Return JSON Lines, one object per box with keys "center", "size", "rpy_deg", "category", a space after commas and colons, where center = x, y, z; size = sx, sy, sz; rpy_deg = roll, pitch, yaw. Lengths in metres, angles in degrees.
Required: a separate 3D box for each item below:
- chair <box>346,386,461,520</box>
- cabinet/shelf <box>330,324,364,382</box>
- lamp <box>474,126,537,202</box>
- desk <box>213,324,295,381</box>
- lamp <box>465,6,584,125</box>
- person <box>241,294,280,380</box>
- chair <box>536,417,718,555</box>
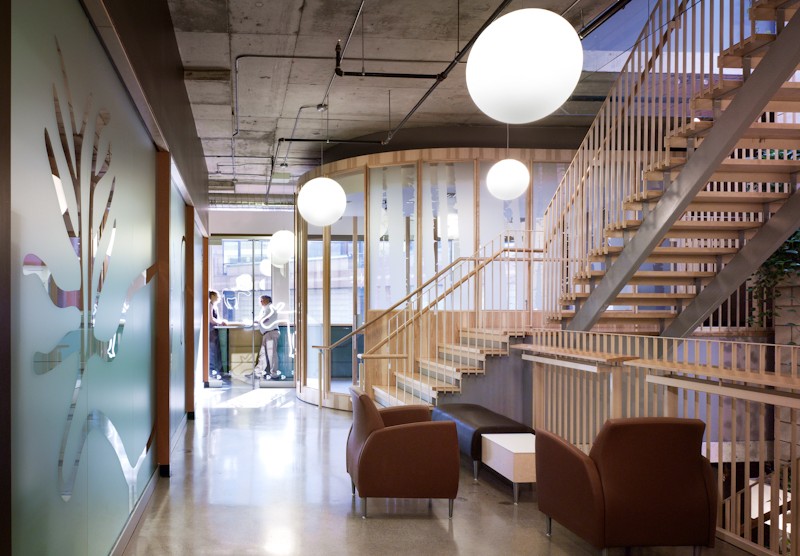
{"center": [-0.009, 1.490, 6.695], "size": [0.931, 1.137, 1.328], "rpy_deg": [1, -5, -5], "category": "chair"}
{"center": [-0.882, 1.204, 11.214], "size": [0.531, 1.049, 0.523], "rpy_deg": [-1, 33, -4], "category": "cabinet/shelf"}
{"center": [1.594, -1.771, 10.119], "size": [0.680, 1.304, 2.047], "rpy_deg": [0, 2, 10], "category": "lamp"}
{"center": [-3.127, 1.584, 15.024], "size": [1.796, 1.327, 1.022], "rpy_deg": [0, -5, -2], "category": "desk"}
{"center": [0.919, -1.651, 5.162], "size": [0.768, 0.924, 0.464], "rpy_deg": [0, 2, -21], "category": "lamp"}
{"center": [-2.877, 1.240, 14.665], "size": [0.703, 1.716, 0.508], "rpy_deg": [0, 2, 4], "category": "person"}
{"center": [1.810, 1.595, 5.655], "size": [1.153, 1.116, 1.120], "rpy_deg": [1, -5, -8], "category": "chair"}
